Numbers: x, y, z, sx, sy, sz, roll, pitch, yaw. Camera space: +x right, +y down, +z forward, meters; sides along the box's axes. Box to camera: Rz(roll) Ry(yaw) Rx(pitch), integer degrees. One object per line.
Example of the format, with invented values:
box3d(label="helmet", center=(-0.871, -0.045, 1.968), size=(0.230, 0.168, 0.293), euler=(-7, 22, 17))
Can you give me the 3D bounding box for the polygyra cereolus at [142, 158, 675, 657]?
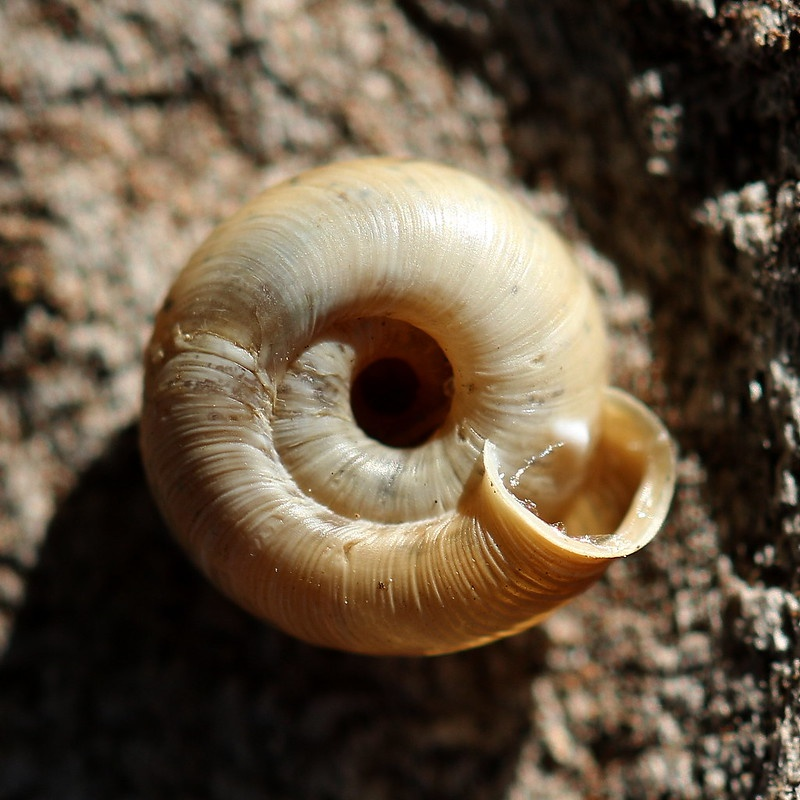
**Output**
box3d(label="polygyra cereolus", center=(-0.046, 0.023, 1.674), size=(0.759, 0.309, 0.746), euler=(20, 91, 0))
